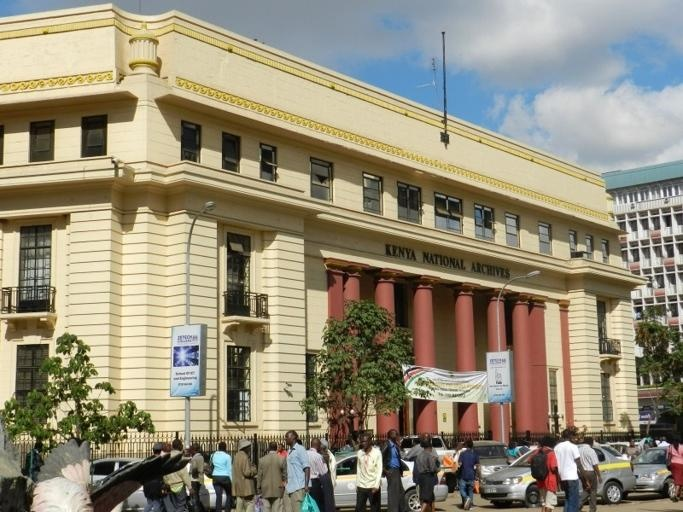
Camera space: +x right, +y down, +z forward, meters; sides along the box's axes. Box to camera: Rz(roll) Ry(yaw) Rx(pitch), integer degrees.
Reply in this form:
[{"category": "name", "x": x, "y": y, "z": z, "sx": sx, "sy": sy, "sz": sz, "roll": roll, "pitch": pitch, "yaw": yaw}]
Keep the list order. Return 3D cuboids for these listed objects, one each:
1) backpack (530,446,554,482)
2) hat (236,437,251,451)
[{"category": "backpack", "x": 5.401, "y": 5.670, "z": 26.005, "sx": 0.512, "sy": 0.857, "sz": 0.361, "roll": -6, "pitch": -17, "yaw": 9}, {"category": "hat", "x": -2.786, "y": 5.312, "z": 26.914, "sx": 0.381, "sy": 0.137, "sz": 0.451, "roll": -16, "pitch": -5, "yaw": -24}]
